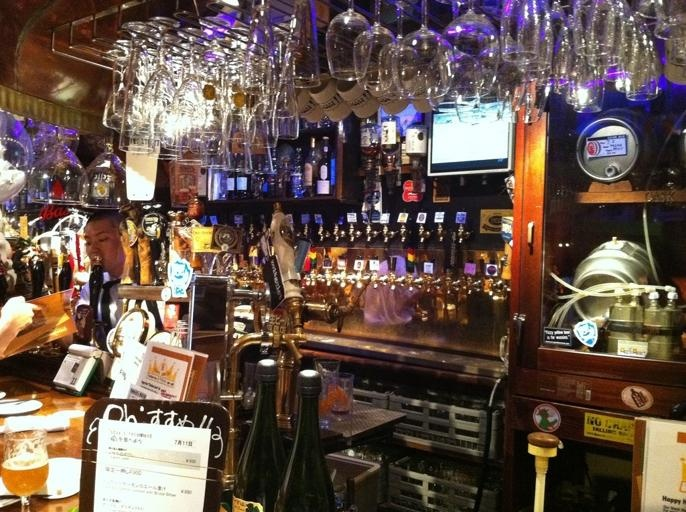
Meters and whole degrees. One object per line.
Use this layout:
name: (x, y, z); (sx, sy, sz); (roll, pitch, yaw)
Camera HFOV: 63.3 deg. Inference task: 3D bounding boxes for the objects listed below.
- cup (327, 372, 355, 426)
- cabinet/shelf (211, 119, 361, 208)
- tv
cup: (-0.009, 0.502, 2.027); (0.096, 0.150, 0.101); (2, -13, 0)
cabinet/shelf: (-0.514, -0.773, 4.755); (1.264, 0.709, 0.393); (-3, 0, -10)
tv: (0.769, -0.689, 3.268); (0.579, 0.441, 0.080); (-1, -7, 33)
